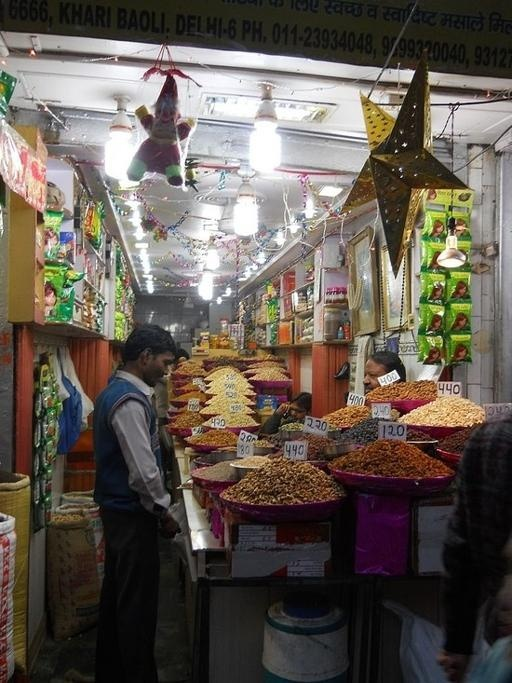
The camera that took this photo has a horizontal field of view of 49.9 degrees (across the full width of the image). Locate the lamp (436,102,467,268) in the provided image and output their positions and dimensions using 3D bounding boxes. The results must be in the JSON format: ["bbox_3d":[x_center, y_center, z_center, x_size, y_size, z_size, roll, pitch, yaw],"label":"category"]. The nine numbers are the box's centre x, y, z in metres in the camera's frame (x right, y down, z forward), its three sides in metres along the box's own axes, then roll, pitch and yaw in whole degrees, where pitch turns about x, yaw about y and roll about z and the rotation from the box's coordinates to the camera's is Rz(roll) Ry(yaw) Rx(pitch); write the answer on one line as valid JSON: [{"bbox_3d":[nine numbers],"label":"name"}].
[{"bbox_3d":[1.150,-0.872,3.146,0.254,0.858,0.218,0,3,-3],"label":"lamp"}]

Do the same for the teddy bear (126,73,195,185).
[{"bbox_3d":[-0.367,-0.861,2.223,0.253,0.417,0.102,9,6,-2],"label":"teddy bear"}]

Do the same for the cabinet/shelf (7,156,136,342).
[{"bbox_3d":[-1.300,-0.642,3.748,0.467,1.026,2.638,1,3,-14],"label":"cabinet/shelf"}]
